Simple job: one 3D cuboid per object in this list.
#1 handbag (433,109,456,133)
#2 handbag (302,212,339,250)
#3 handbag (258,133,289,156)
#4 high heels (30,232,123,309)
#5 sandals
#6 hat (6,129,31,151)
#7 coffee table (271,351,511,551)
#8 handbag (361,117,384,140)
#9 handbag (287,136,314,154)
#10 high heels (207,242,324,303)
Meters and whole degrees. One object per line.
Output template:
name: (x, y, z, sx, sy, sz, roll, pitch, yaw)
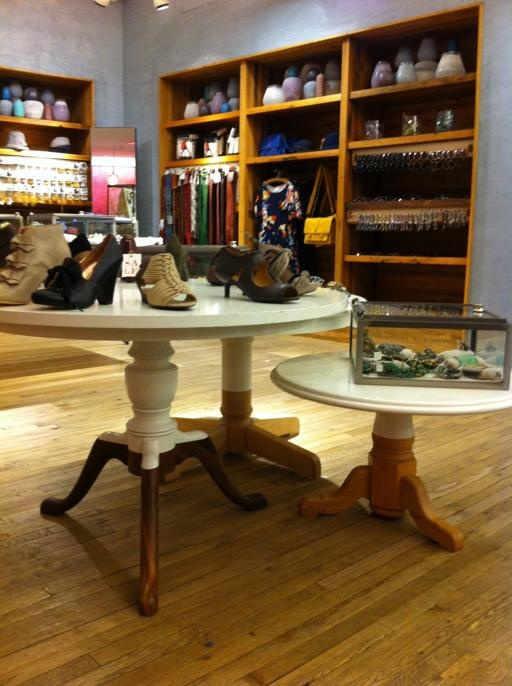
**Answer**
handbag: (1.432, -1.676, 3.928, 0.106, 0.209, 0.160, 2, 5, 25)
handbag: (0.573, -0.975, 4.793, 0.435, 0.375, 0.249, 5, 6, 33)
handbag: (0.179, -1.928, 5.095, 0.291, 0.272, 0.107, -2, 3, 42)
high heels: (-0.321, -0.127, 0.937, 0.086, 0.119, 0.235, 8, 13, 15)
sandals: (-0.191, -0.112, 1.001, 0.072, 0.085, 0.203, -8, 14, -31)
hat: (-2.861, -2.428, 6.279, 0.228, 0.217, 0.321, 5, 11, -13)
coffee table: (0.364, 0.209, 1.349, 0.543, 0.317, 0.518, 8, 13, 30)
handbag: (0.984, -1.765, 4.319, 0.130, 0.188, 0.150, 1, 5, 16)
handbag: (0.439, -1.896, 5.048, 0.265, 0.093, 0.247, -5, 21, -16)
high heels: (0.014, -0.166, 1.206, 0.253, 0.111, 0.151, 7, 15, 24)
